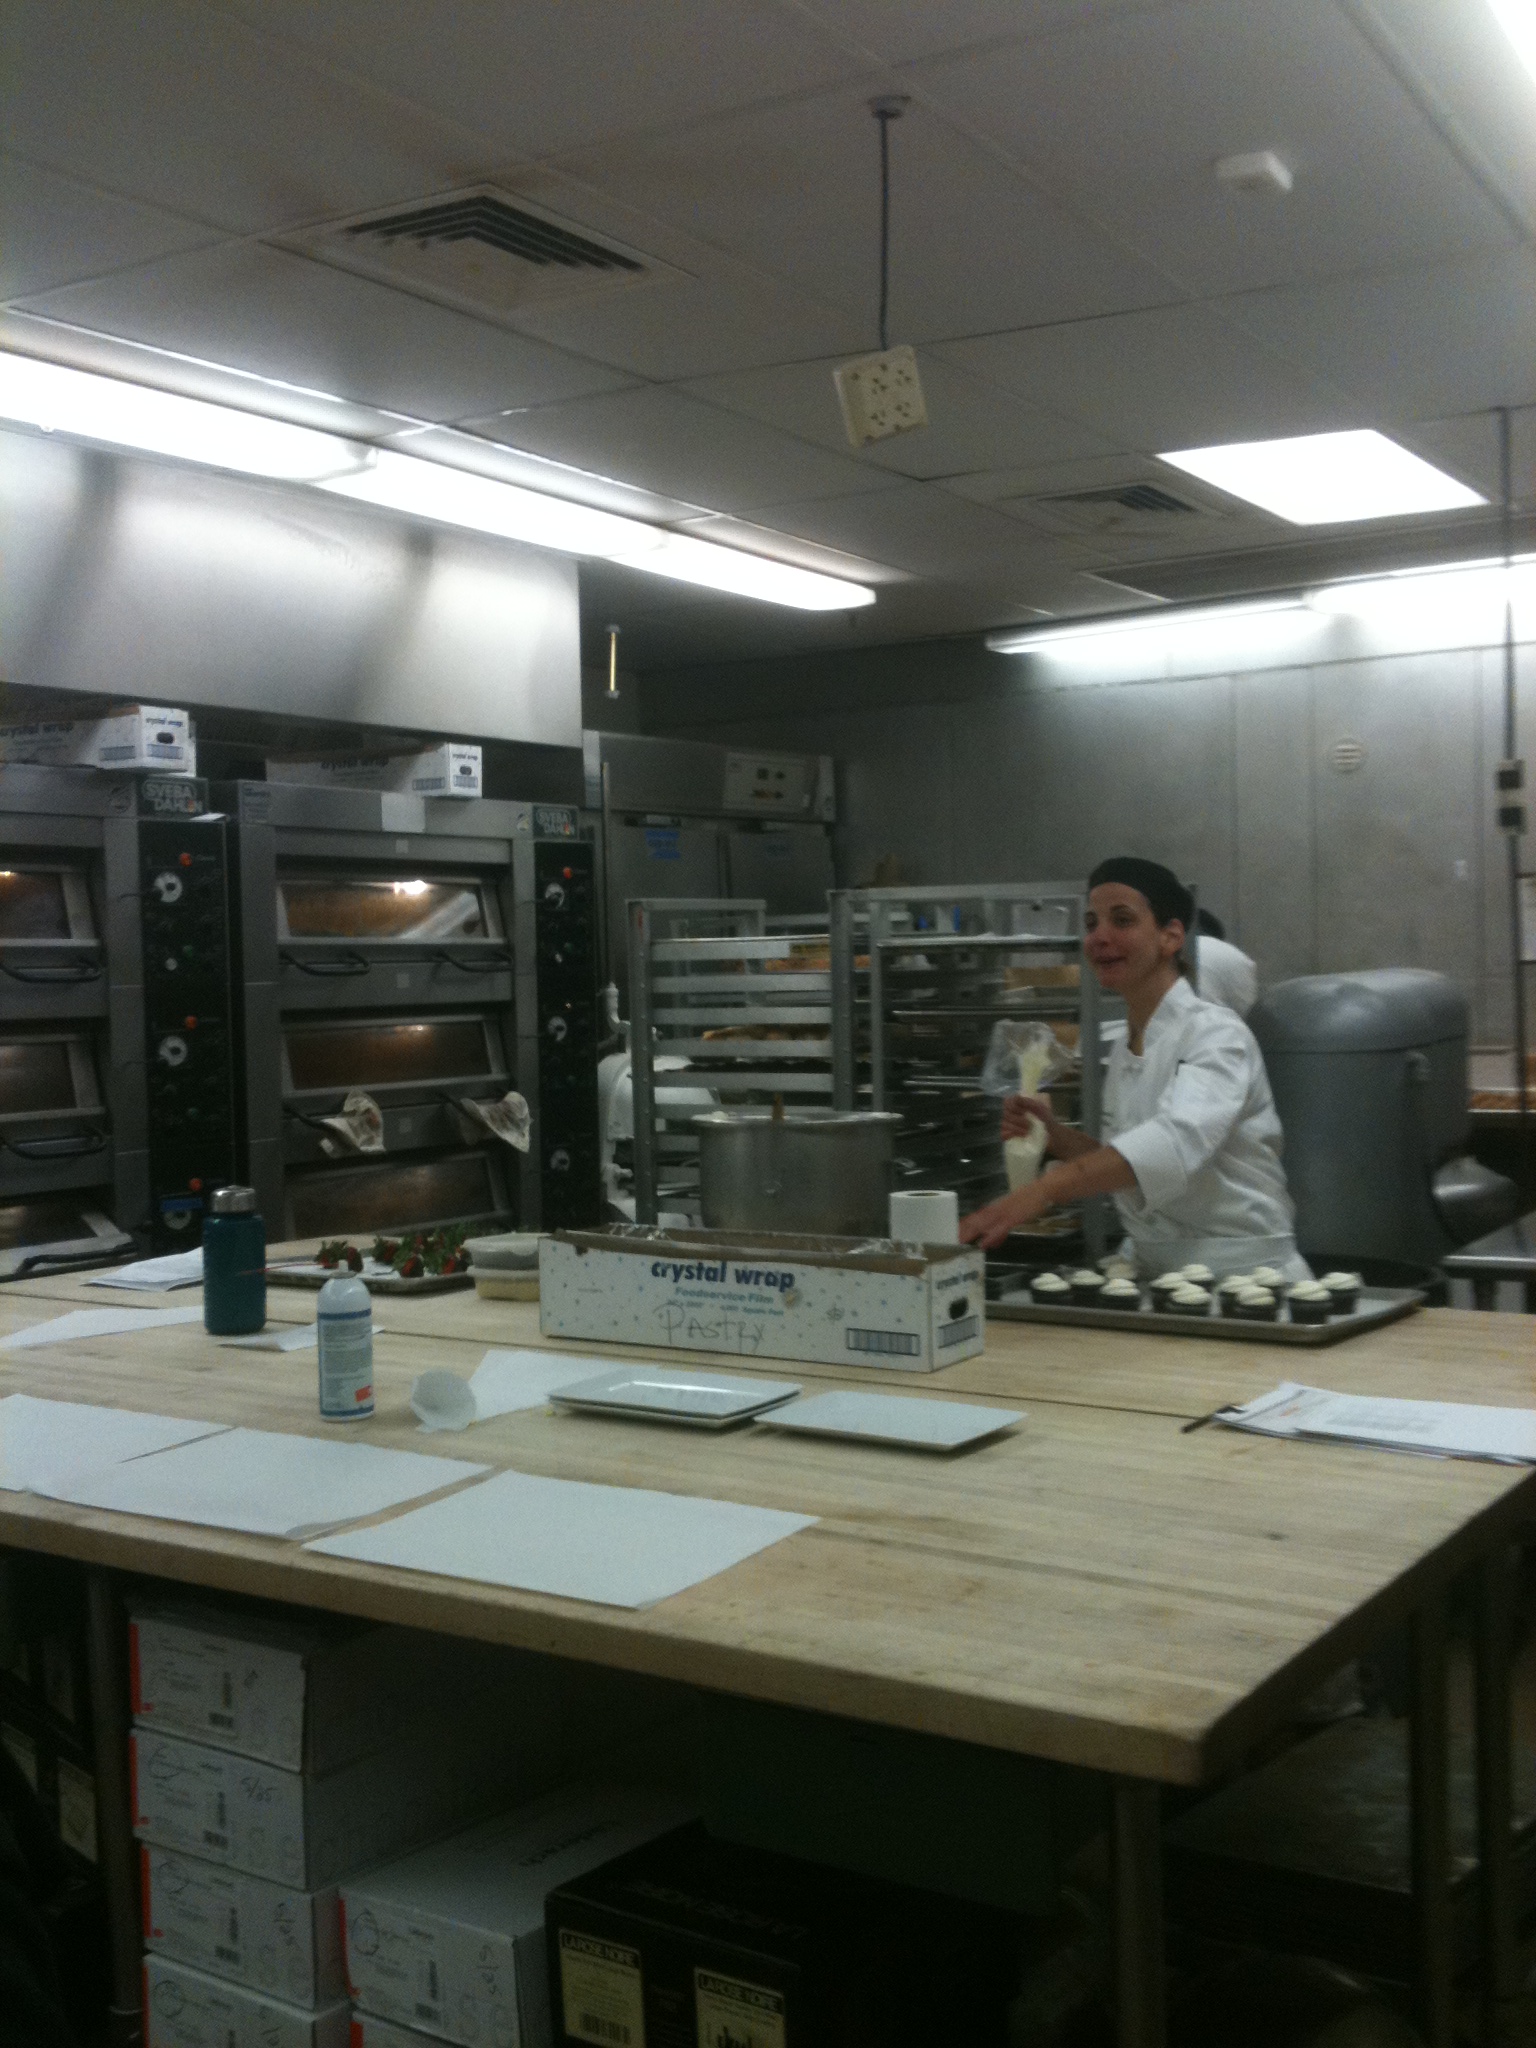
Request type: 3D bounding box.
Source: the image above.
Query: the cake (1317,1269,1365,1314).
[{"bbox_3d":[0.776,0.359,2.216,0.059,0.042,0.056,-1,-8,-4],"label":"cake"}]

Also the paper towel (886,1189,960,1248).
[{"bbox_3d":[0.213,0.265,2.242,0.086,0.073,0.080,0,-3,-8],"label":"paper towel"}]

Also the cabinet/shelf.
[{"bbox_3d":[0.226,0.091,3.714,1.141,0.980,0.514,-1,-1,28],"label":"cabinet/shelf"}]

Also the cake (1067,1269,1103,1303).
[{"bbox_3d":[0.444,0.366,2.299,0.039,0.034,0.037,1,-8,-9],"label":"cake"}]

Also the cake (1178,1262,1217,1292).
[{"bbox_3d":[0.610,0.355,2.326,0.049,0.036,0.046,-1,-8,3],"label":"cake"}]

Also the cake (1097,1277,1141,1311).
[{"bbox_3d":[0.484,0.370,2.260,0.042,0.031,0.040,-1,-11,3],"label":"cake"}]

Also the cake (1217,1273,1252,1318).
[{"bbox_3d":[0.622,0.363,2.194,0.047,0.031,0.091,-1,-4,9],"label":"cake"}]

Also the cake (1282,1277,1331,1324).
[{"bbox_3d":[0.699,0.352,2.131,0.049,0.040,0.046,0,-14,-3],"label":"cake"}]

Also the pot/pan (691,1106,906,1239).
[{"bbox_3d":[0.042,0.208,2.399,0.222,0.122,0.210,0,-2,-3],"label":"pot/pan"}]

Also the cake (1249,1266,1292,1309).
[{"bbox_3d":[0.663,0.348,2.178,0.048,0.030,0.045,-1,-9,-2],"label":"cake"}]

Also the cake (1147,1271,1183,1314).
[{"bbox_3d":[0.546,0.369,2.261,0.062,0.025,0.082,-5,2,5],"label":"cake"}]
